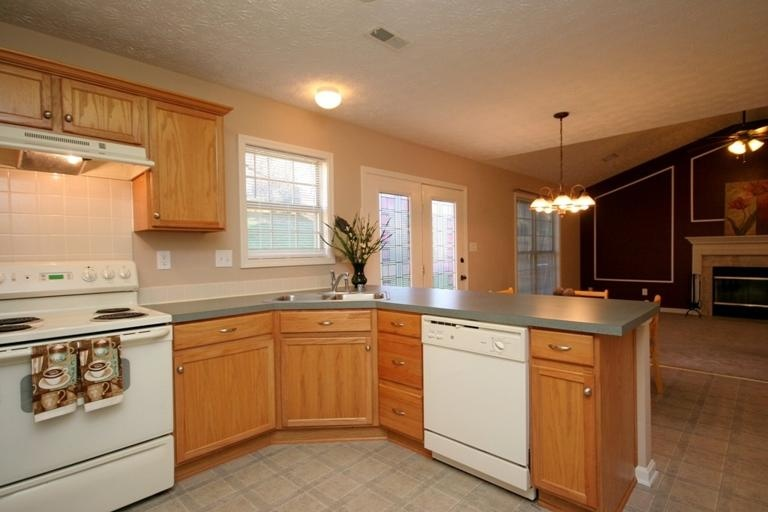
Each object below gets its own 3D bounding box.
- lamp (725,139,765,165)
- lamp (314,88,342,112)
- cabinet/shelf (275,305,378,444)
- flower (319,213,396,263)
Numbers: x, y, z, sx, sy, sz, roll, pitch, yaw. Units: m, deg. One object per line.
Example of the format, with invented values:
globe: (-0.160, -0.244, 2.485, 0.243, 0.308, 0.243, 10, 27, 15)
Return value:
lamp: (5.490, -1.570, 7.402, 0.612, 0.140, 0.579, 6, -8, -20)
lamp: (-0.529, -1.489, 4.742, 0.273, 0.150, 0.470, -1, 1, -5)
cabinet/shelf: (-0.464, 1.021, 4.431, 1.183, 1.274, 0.898, 0, -5, -4)
flower: (-0.310, -0.201, 5.294, 0.574, 0.359, 0.586, 0, 5, -5)
